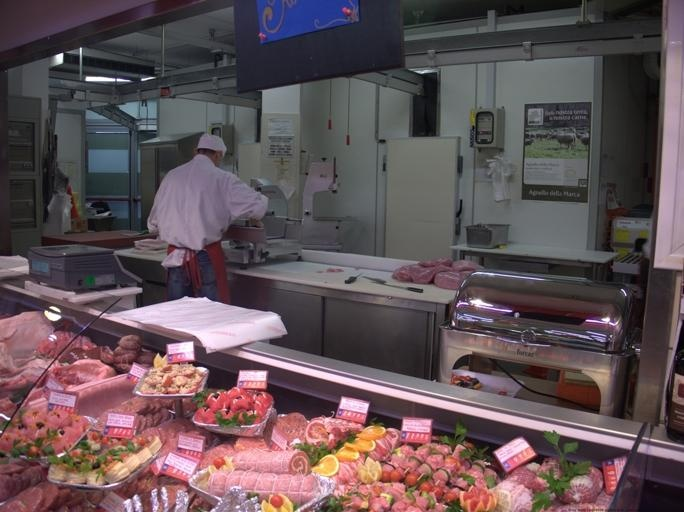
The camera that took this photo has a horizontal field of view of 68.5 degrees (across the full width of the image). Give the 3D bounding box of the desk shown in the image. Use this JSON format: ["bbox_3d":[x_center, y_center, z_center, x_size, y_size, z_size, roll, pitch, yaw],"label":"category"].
[{"bbox_3d":[2.216,0.070,5.744,1.610,0.356,0.832,7,13,30],"label":"desk"}]

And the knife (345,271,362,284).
[{"bbox_3d":[0.095,0.177,4.029,0.046,0.045,0.268,6,15,22],"label":"knife"}]

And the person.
[{"bbox_3d":[-1.104,0.007,3.931,0.838,1.813,0.666,6,17,6],"label":"person"}]

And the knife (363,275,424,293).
[{"bbox_3d":[0.354,0.191,3.856,0.620,0.054,0.131,13,17,40],"label":"knife"}]

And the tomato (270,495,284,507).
[{"bbox_3d":[-0.175,0.663,1.350,0.032,0.021,0.021,-1,11,-10],"label":"tomato"}]

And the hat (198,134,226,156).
[{"bbox_3d":[-0.994,-0.850,3.893,0.143,0.110,0.209,16,11,26],"label":"hat"}]

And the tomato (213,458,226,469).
[{"bbox_3d":[-0.363,0.618,1.496,0.027,0.028,0.026,2,3,19],"label":"tomato"}]
